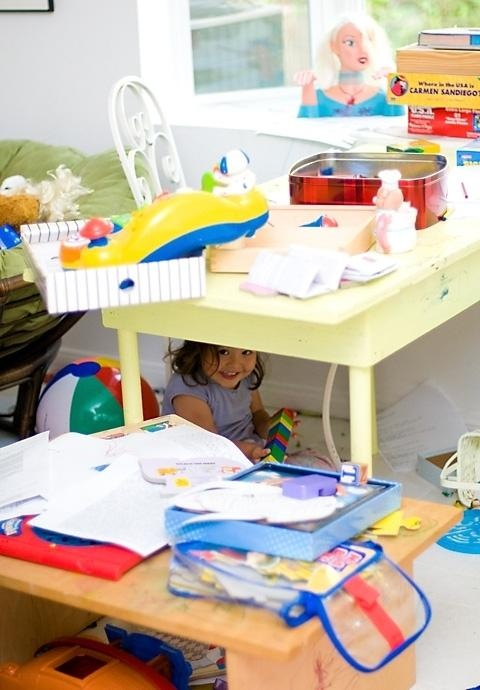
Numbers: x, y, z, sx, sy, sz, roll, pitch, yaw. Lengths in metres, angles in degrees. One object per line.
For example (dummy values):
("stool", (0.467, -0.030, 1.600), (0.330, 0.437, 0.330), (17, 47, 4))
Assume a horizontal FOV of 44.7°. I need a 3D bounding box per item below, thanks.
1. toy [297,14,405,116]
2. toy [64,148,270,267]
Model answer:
("toy", (0.336, -0.902, 1.907), (0.309, 0.186, 0.150), (-2, 1, 8))
("toy", (-0.089, -0.175, 0.775), (0.249, 0.106, 0.136), (-13, 25, -14))
